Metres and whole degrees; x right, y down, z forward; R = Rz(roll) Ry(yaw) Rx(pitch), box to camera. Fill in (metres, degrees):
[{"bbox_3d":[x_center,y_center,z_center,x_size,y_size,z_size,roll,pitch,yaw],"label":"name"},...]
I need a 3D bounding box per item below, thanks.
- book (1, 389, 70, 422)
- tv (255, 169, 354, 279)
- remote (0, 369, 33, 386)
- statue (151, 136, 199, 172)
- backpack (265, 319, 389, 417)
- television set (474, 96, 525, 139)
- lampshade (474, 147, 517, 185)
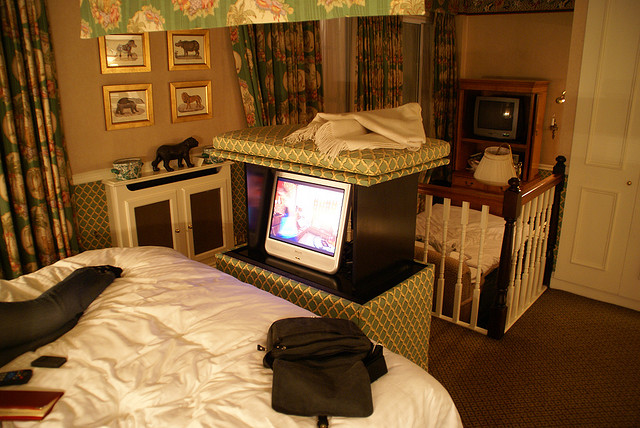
[{"bbox_3d":[-1.226,0.799,1.955,0.150,0.035,0.150,0,9,-8],"label":"book"},{"bbox_3d":[-0.074,0.065,2.811,0.601,0.532,0.062,16,9,32],"label":"tv"},{"bbox_3d":[-1.356,0.725,2.055,0.137,0.032,0.063,-3,21,-3],"label":"remote"},{"bbox_3d":[-1.375,-0.557,4.347,0.423,0.270,0.216,-19,27,-36],"label":"statue"},{"bbox_3d":[-0.011,0.639,2.112,0.526,0.155,0.618,9,21,7],"label":"backpack"},{"bbox_3d":[2.232,-1.235,5.889,0.568,0.484,0.138,18,29,41],"label":"television set"},{"bbox_3d":[1.889,-0.546,5.107,0.486,0.446,0.486,9,25,25],"label":"lampshade"}]
